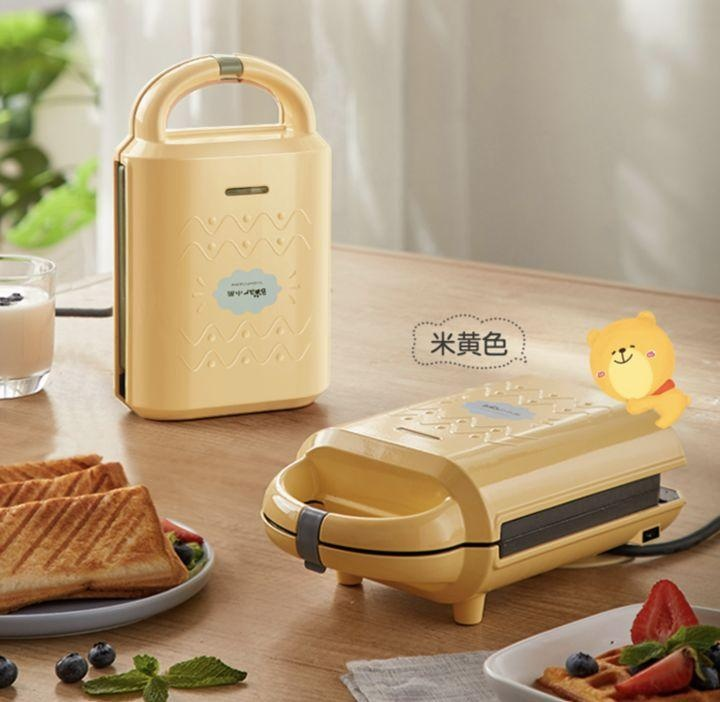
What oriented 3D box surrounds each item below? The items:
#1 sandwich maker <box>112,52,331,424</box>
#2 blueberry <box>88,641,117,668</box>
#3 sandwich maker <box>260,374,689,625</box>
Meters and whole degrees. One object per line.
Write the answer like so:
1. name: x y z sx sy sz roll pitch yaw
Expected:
1. sandwich maker: -0.142 -0.109 0.878 0.266 0.371 0.125 -9 27 -12
2. blueberry: -0.139 0.166 0.472 0.018 0.012 0.015 0 0 -2
3. sandwich maker: 0.093 0.085 0.586 0.266 0.079 0.146 -11 17 -32
